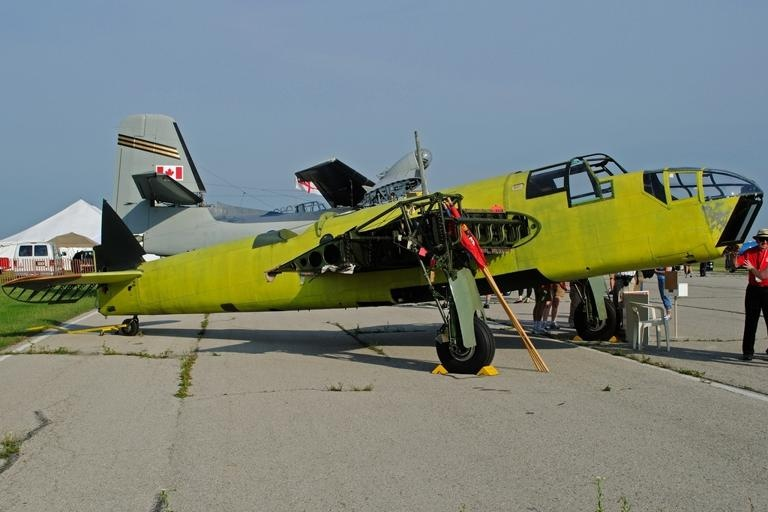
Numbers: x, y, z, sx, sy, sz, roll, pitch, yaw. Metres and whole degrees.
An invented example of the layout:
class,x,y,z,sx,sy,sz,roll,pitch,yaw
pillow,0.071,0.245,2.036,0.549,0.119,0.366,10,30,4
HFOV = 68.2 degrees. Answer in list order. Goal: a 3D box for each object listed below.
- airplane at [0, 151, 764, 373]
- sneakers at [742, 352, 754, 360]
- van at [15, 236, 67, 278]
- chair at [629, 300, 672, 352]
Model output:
class,x,y,z,sx,sy,sz,roll,pitch,yaw
airplane,0.987,-0.150,11.256,8.487,2.763,6.913,-7,0,6
sneakers,6.432,1.784,10.060,0.105,0.105,0.277,-5,-13,29
van,-24.143,0.365,39.462,2.685,2.100,4.053,-2,2,-22
chair,5.449,1.413,11.464,0.864,0.939,0.843,-3,-6,0
